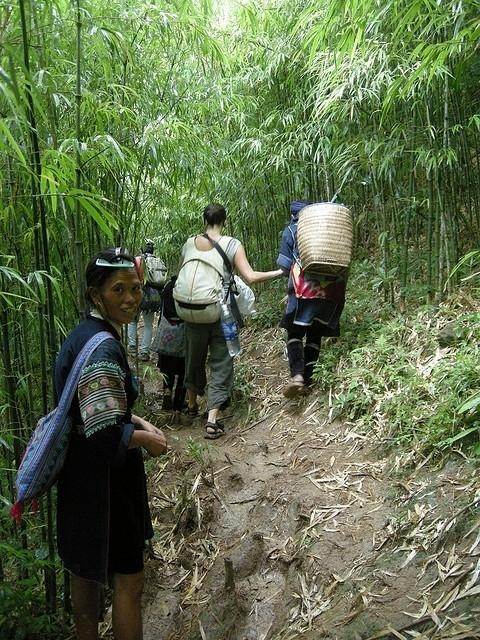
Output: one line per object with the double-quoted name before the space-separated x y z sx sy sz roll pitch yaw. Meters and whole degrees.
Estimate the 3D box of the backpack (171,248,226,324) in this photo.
"backpack" -0.241 -0.210 3.211 0.284 0.472 0.226 6 6 10

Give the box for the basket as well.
"basket" 0.453 -0.428 2.930 0.306 0.397 0.245 5 6 5

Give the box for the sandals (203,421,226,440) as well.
"sandals" -0.146 0.639 3.201 0.112 0.100 0.127 4 6 -2

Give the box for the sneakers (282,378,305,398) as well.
"sneakers" 0.300 0.385 3.006 0.079 0.161 0.108 15 43 -12

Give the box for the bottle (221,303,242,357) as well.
"bottle" -0.046 0.061 3.256 0.091 0.319 0.150 10 8 42
